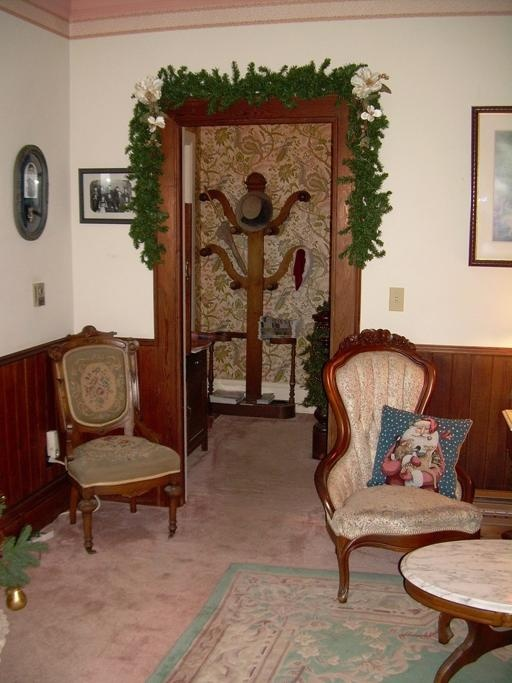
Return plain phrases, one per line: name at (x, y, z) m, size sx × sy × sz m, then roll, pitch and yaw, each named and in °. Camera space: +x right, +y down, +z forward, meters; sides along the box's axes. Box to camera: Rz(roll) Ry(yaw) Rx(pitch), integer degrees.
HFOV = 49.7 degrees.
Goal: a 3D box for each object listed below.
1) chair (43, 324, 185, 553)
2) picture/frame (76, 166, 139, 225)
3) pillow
chair at (-0.801, 0.480, 3.057) m, size 0.634 × 1.118 × 0.720 m, roll -1°, pitch 3°, yaw -24°
picture/frame at (-0.863, -0.872, 3.256) m, size 0.392 × 0.318 × 0.028 m, roll 2°, pitch 16°, yaw 13°
pillow at (0.727, 0.499, 2.482) m, size 0.433 × 0.364 × 0.263 m, roll 1°, pitch 3°, yaw 20°
